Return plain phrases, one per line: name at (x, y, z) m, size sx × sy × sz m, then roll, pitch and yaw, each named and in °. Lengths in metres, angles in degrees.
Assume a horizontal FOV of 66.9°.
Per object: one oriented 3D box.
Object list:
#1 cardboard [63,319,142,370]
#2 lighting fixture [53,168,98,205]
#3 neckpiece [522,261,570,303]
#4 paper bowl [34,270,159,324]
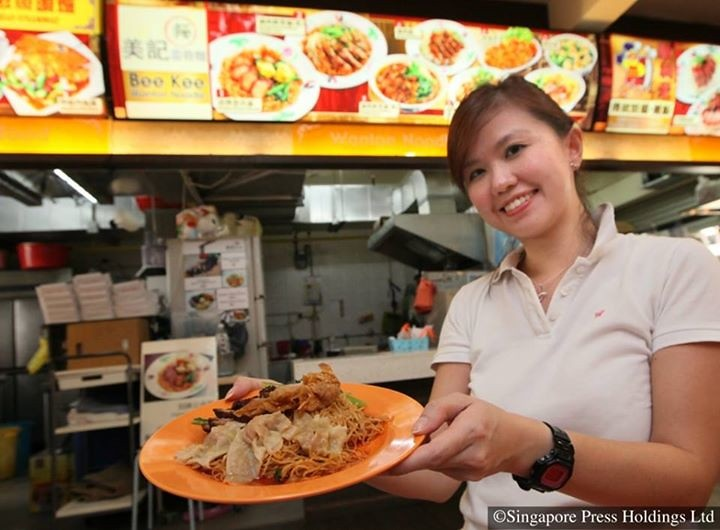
cardboard at (-1.821, 0.549, 3.886) m, size 0.607 × 0.378 × 0.323 m, roll -3°, pitch -3°, yaw -8°
lighting fixture at (-2.006, -0.530, 3.804) m, size 0.161 × 0.254 × 0.343 m, roll -3°, pitch 0°, yaw 1°
neckpiece at (0.804, 0.085, 2.353) m, size 0.126 × 0.181 × 0.097 m, roll -8°, pitch -12°, yaw 32°
paper bowl at (-1.878, 0.228, 3.918) m, size 0.807 × 0.393 × 0.058 m, roll -3°, pitch 1°, yaw -14°
